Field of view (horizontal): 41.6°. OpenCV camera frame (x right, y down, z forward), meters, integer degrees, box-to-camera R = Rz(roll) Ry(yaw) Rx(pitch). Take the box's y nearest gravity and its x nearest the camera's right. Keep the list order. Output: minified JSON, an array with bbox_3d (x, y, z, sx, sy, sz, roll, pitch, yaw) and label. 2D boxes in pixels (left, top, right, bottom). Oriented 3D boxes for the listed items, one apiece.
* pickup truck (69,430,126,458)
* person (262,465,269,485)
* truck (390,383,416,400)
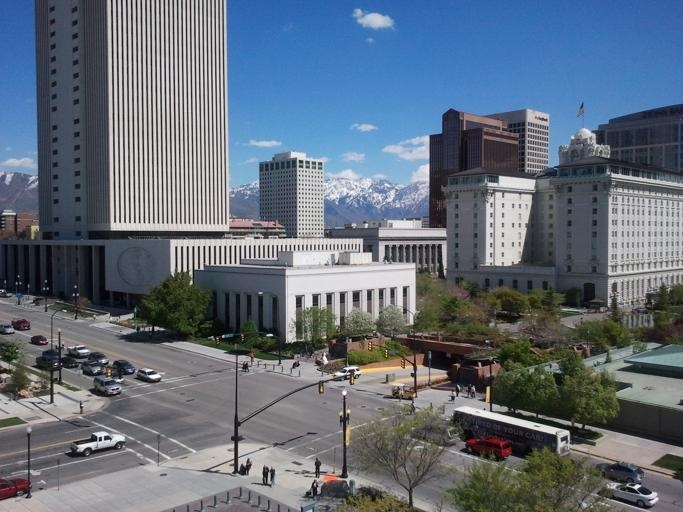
[{"bbox_3d":[-31.940,24.672,117.046,5.678,1.977,3.048,-8,10,-28],"label":"pickup truck"},{"bbox_3d":[-9.405,27.126,110.338,0.761,2.294,0.839,1,0,-7],"label":"person"},{"bbox_3d":[9.250,20.504,133.952,2.923,1.603,1.965,-3,4,-27],"label":"truck"}]
